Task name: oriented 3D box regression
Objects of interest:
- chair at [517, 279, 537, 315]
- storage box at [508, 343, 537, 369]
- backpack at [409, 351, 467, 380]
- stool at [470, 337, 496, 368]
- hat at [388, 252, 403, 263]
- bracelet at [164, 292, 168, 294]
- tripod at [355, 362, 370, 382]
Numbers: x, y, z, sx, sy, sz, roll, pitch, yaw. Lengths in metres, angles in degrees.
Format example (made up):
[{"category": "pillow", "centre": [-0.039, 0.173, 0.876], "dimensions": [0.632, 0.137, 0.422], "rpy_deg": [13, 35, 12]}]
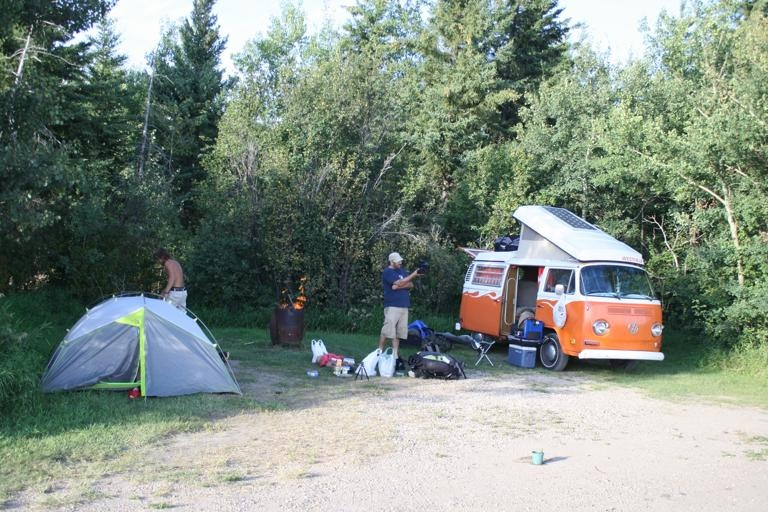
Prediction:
[{"category": "chair", "centre": [4.424, 1.267, 19.730], "dimensions": [0.766, 0.880, 0.777], "rpy_deg": [0, 4, 15]}, {"category": "storage box", "centre": [3.864, 2.729, 17.545], "dimensions": [0.502, 0.693, 0.946], "rpy_deg": [1, 0, -18]}, {"category": "backpack", "centre": [1.282, 2.706, 15.676], "dimensions": [0.968, 0.382, 0.709], "rpy_deg": [4, 11, 2]}, {"category": "stool", "centre": [2.877, 2.716, 18.117], "dimensions": [0.567, 0.798, 0.815], "rpy_deg": [-19, -6, -1]}, {"category": "hat", "centre": [0.281, 0.060, 16.288], "dimensions": [0.297, 0.184, 0.241], "rpy_deg": [-1, 8, 33]}, {"category": "bracelet", "centre": [-5.681, 0.971, 16.574], "dimensions": [0.053, 0.055, 0.013], "rpy_deg": [39, 7, 20]}, {"category": "tripod", "centre": [-0.526, 2.849, 15.413], "dimensions": [0.345, 0.455, 0.332], "rpy_deg": [1, 32, 5]}]
